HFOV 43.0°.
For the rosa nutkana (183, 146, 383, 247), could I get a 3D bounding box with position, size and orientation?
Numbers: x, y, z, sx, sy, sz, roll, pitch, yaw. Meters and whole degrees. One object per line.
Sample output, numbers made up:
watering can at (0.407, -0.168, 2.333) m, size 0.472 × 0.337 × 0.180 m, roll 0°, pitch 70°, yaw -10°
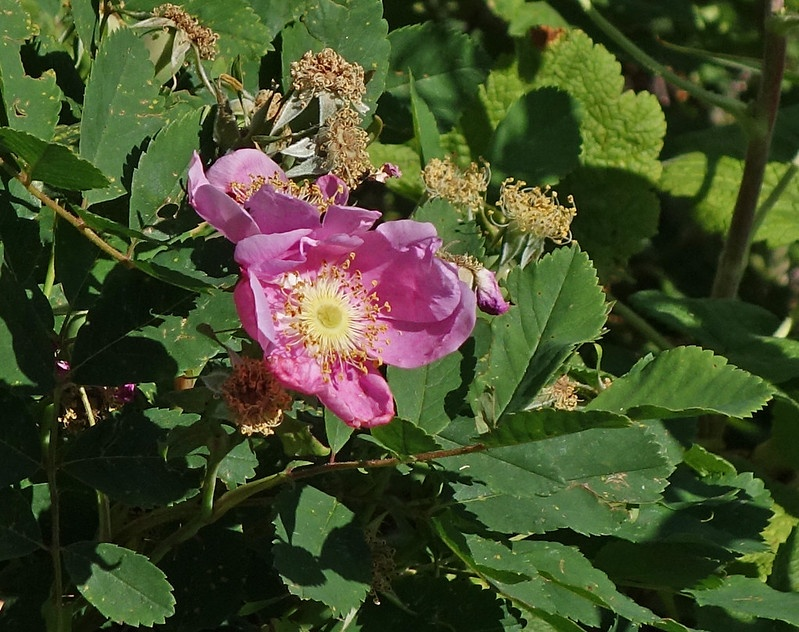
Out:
rosa nutkana at (-0.098, -0.092, 0.839) m, size 0.110 × 0.047 × 0.122 m, roll 34°, pitch 24°, yaw 31°
